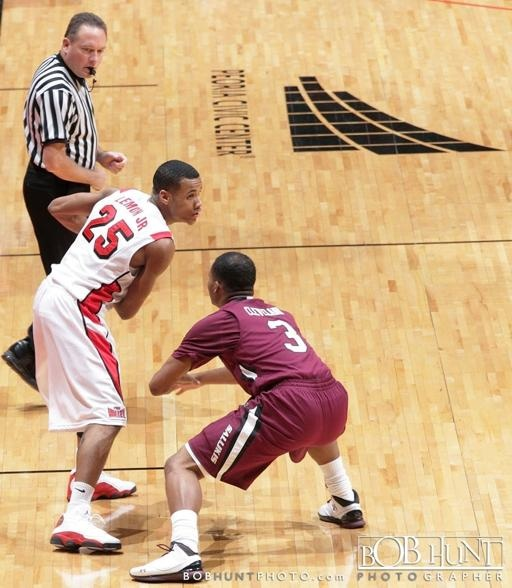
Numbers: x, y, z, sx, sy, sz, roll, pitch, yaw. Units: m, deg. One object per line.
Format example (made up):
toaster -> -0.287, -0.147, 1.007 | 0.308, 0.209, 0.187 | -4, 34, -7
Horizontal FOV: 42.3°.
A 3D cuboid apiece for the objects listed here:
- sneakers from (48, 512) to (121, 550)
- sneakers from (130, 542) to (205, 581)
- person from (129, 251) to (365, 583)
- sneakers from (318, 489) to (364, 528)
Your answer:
sneakers -> -0.549, 0.764, 2.161 | 0.276, 0.106, 0.088 | -3, -7, 25
sneakers -> -0.312, 0.840, 2.087 | 0.299, 0.129, 0.090 | 2, -18, 2
person -> 0.016, 0.473, 2.342 | 0.819, 1.019, 0.977 | 1, 29, -2
sneakers -> 0.326, 0.819, 2.576 | 0.106, 0.138, 0.244 | -2, -8, -24
